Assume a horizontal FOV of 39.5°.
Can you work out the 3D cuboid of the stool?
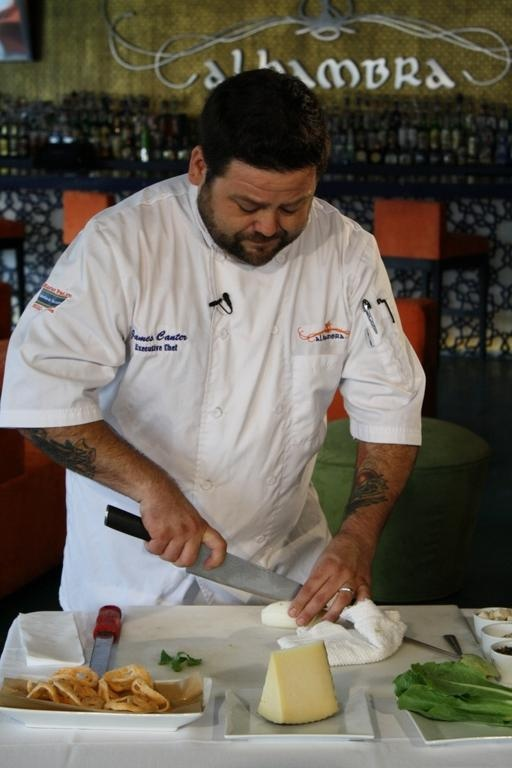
[{"bbox_3d":[0.566,0.444,3.037,0.782,0.675,0.668,-1,8,-18],"label":"stool"}]

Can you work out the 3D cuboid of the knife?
[{"bbox_3d":[-0.112,0.310,1.298,0.467,0.072,0.041,26,4,-22],"label":"knife"}]

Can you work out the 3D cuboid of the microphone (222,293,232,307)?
[{"bbox_3d":[-0.051,-0.153,1.300,0.013,0.025,0.006,-32,13,-22],"label":"microphone"}]
